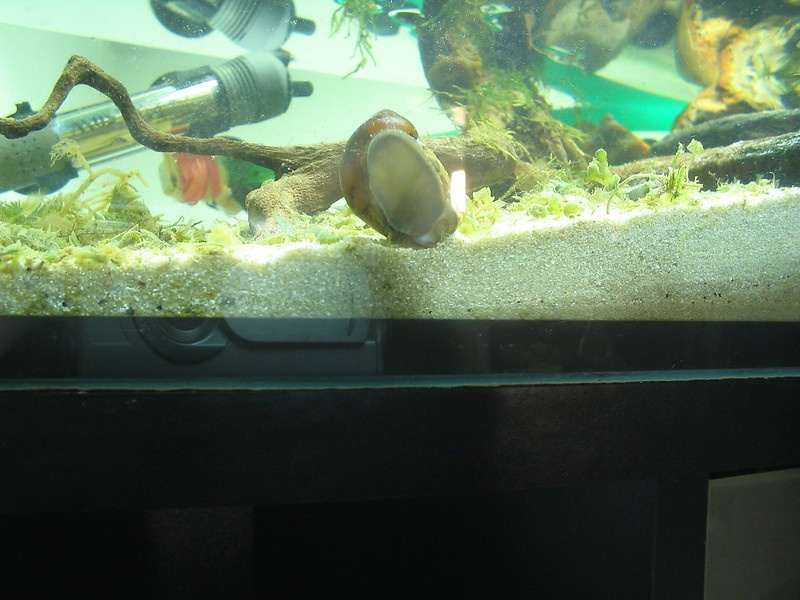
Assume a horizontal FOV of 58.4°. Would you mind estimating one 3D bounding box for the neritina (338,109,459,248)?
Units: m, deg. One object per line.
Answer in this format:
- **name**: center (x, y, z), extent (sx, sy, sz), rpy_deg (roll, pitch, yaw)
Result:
- **neritina**: center (-0.005, -0.218, 1.295), extent (0.207, 0.241, 0.064), rpy_deg (-3, 18, -5)
